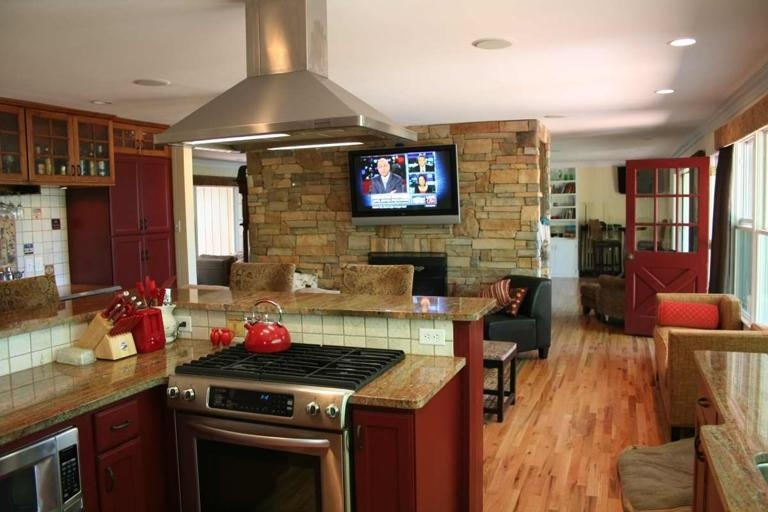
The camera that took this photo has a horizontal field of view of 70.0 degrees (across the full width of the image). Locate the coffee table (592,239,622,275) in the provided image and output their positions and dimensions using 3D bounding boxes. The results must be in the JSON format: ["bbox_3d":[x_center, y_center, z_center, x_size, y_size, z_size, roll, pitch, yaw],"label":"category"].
[{"bbox_3d":[5.262,0.050,12.949,0.721,0.886,0.554,6,13,20],"label":"coffee table"}]

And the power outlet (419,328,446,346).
[{"bbox_3d":[0.300,0.491,3.356,0.126,0.077,0.016,3,11,17],"label":"power outlet"}]

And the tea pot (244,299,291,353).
[{"bbox_3d":[-0.748,0.445,3.563,0.363,0.309,0.308,0,3,12],"label":"tea pot"}]

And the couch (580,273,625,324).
[{"bbox_3d":[3.367,0.650,8.319,0.513,0.838,1.128,4,11,8],"label":"couch"}]

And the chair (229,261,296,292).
[{"bbox_3d":[-1.129,0.192,5.033,0.494,0.261,0.745,-4,12,-26],"label":"chair"}]

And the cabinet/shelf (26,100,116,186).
[{"bbox_3d":[-3.669,-1.228,6.244,0.360,0.800,1.013,7,10,23],"label":"cabinet/shelf"}]

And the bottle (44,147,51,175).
[{"bbox_3d":[-3.665,-1.023,5.954,0.060,0.286,0.112,-5,14,-31],"label":"bottle"}]

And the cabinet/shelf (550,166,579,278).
[{"bbox_3d":[4.314,-0.784,13.112,0.800,2.586,0.726,4,12,11],"label":"cabinet/shelf"}]

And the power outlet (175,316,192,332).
[{"bbox_3d":[-1.418,0.483,3.881,0.116,0.103,0.026,1,-2,12],"label":"power outlet"}]
